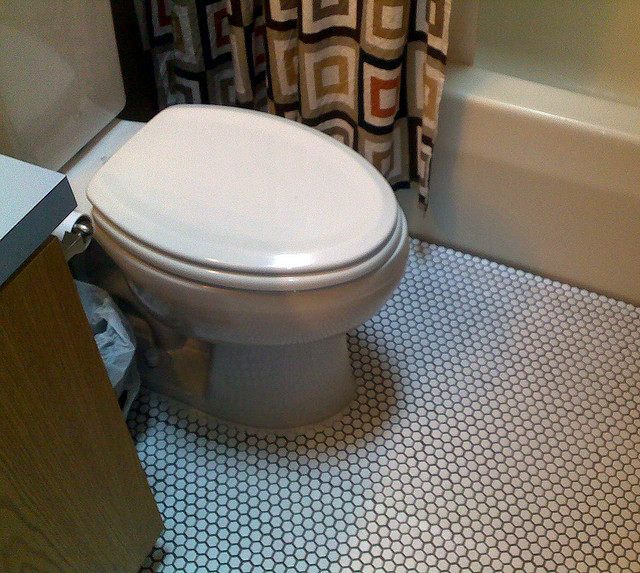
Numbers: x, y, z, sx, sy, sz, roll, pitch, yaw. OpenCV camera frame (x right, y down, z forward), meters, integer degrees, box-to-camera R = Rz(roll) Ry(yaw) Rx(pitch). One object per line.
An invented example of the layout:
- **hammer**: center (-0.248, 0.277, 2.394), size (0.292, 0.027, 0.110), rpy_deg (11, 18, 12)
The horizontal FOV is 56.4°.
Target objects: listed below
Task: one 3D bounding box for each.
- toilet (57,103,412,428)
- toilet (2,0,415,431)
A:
- **toilet**: center (-0.166, -0.002, 1.067), size (0.547, 0.445, 0.388), rpy_deg (13, 37, 16)
- **toilet**: center (-0.153, -0.098, 1.009), size (0.601, 0.740, 0.407), rpy_deg (5, 41, 12)
